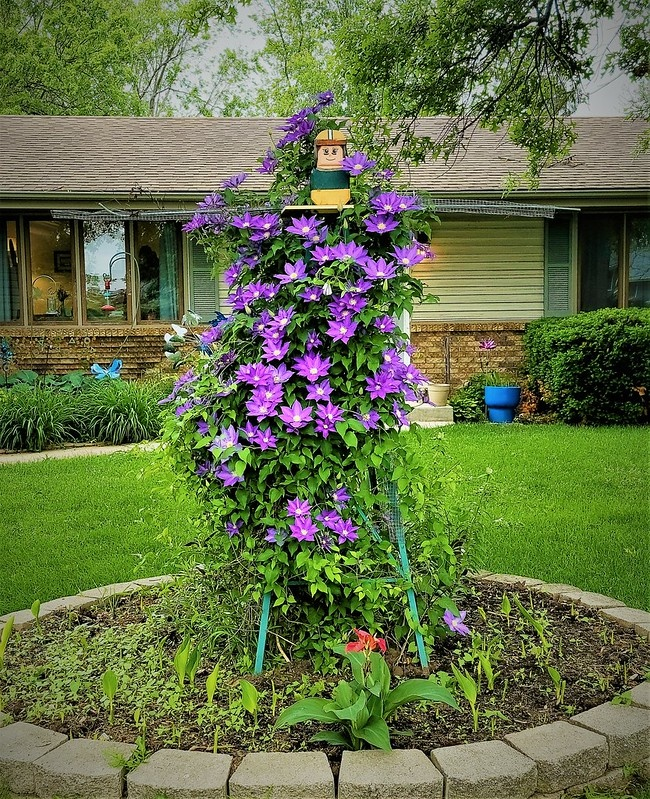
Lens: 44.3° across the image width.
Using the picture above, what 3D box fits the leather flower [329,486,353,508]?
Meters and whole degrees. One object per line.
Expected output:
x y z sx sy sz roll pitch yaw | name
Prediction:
0.047 0.322 2.613 0.027 0.067 0.064 13 25 16 | leather flower

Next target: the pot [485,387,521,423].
2.005 0.063 9.283 0.416 0.434 0.411 0 0 0 | pot

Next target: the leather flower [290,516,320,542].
-0.070 0.417 2.570 0.090 0.076 0.063 -1 3 -6 | leather flower

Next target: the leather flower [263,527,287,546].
-0.163 0.457 2.625 0.060 0.065 0.032 2 -12 4 | leather flower

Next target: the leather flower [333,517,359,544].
0.064 0.431 2.608 0.076 0.082 0.041 7 -15 -17 | leather flower

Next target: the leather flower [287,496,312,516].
-0.088 0.353 2.598 0.074 0.063 0.066 -1 3 3 | leather flower

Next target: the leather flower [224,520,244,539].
-0.314 0.444 2.745 0.049 0.062 0.074 -3 4 -32 | leather flower

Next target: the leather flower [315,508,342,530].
0.008 0.390 2.612 0.082 0.057 0.040 -1 3 -1 | leather flower

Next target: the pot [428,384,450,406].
1.297 -0.049 9.246 0.254 0.228 0.278 0 -1 0 | pot
